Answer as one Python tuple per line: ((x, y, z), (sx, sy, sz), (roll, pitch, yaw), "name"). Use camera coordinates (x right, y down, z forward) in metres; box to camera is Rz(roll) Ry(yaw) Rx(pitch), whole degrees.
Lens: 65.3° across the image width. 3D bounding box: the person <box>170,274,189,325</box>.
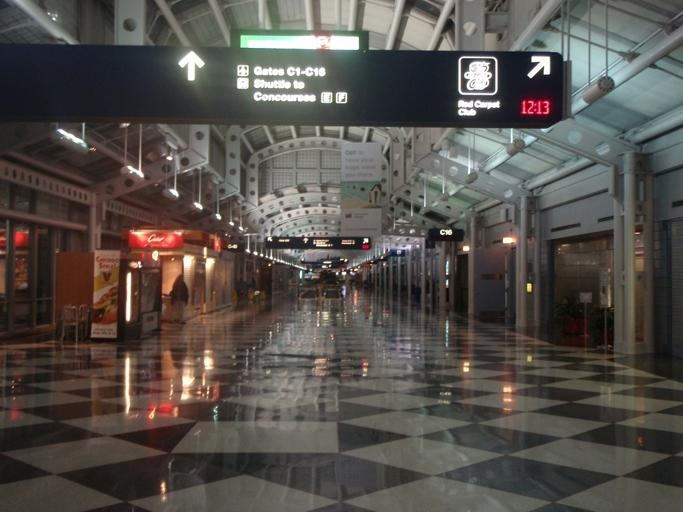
((-5.264, 1.375, 17.197), (0.527, 1.553, 0.710), (-1, 4, -19), "person")
